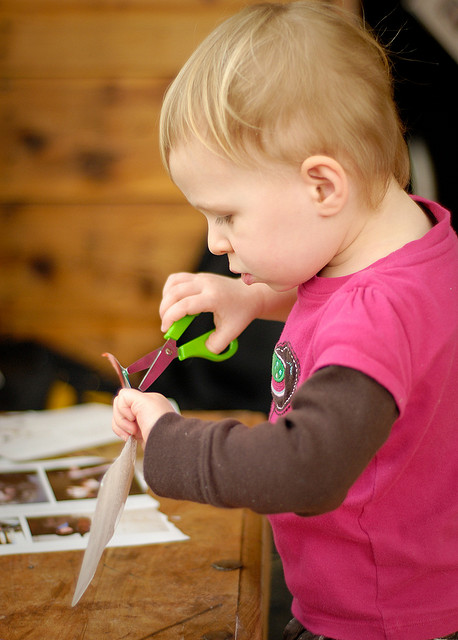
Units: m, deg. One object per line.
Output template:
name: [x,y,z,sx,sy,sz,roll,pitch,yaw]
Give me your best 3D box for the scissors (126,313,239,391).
scissors: [-0.061,0.033,0.709,0.075,0.008,0.172,52,37,-2]
